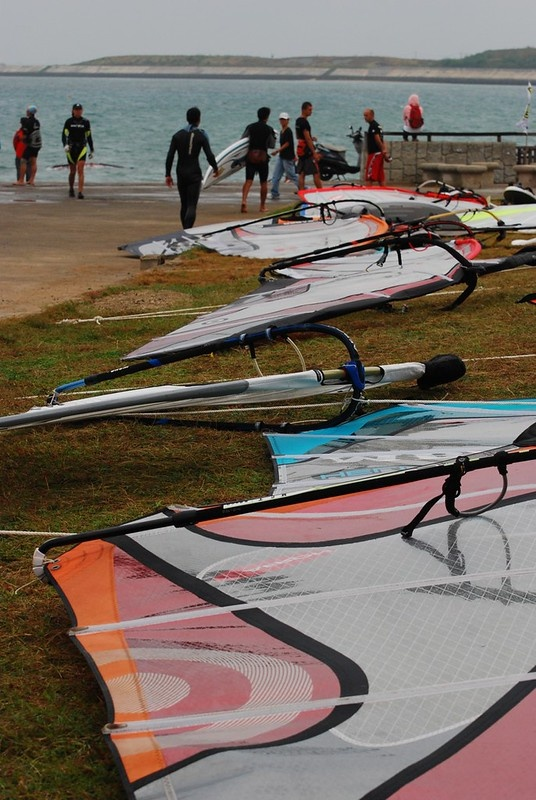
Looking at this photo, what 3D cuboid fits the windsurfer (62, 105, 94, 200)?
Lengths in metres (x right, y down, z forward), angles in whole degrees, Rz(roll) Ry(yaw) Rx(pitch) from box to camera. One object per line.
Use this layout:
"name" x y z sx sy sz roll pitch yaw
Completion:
"windsurfer" -3.218 -4.225 17.421 0.679 1.531 0.945 0 13 -14

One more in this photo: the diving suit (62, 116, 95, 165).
"diving suit" -3.216 -4.414 17.260 0.441 0.760 1.032 -2 8 -10
